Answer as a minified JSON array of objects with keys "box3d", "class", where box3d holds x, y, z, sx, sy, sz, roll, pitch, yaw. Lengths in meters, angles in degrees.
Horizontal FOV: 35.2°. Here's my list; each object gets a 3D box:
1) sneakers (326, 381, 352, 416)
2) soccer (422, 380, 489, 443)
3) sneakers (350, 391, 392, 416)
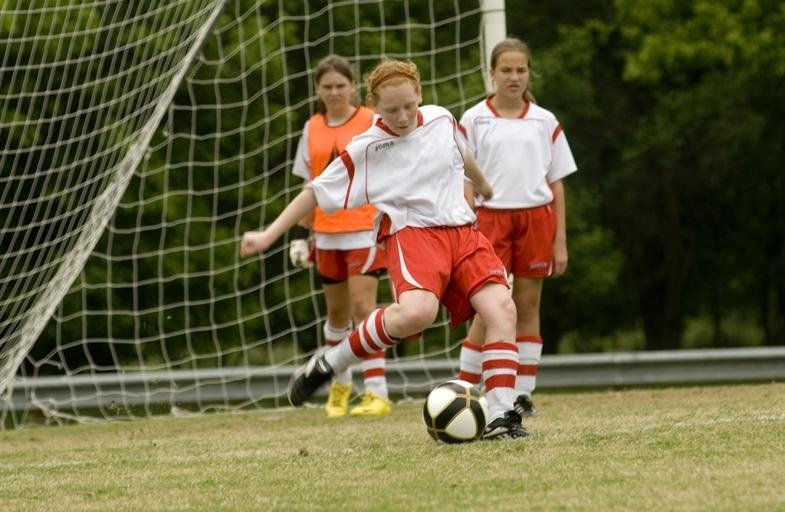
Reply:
[{"box3d":[-0.448,1.201,10.374,0.131,0.156,0.368,8,33,-7],"class":"sneakers"},{"box3d":[0.420,1.099,8.809,0.452,0.421,0.413,-17,-19,-13],"class":"soccer"},{"box3d":[-0.172,1.227,10.221,0.323,0.153,0.168,3,-7,-24],"class":"sneakers"}]
